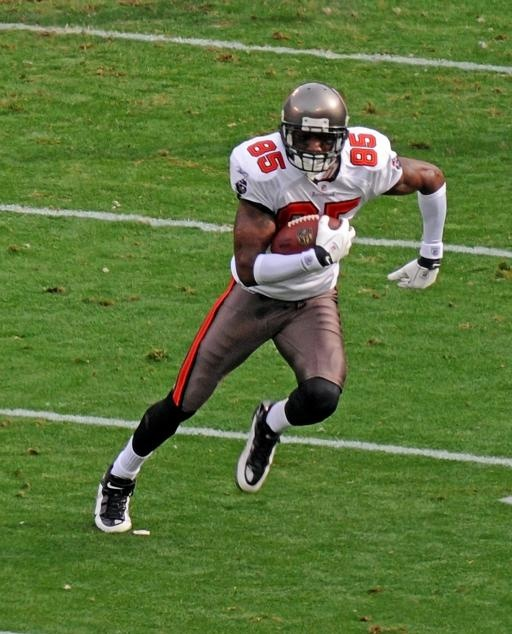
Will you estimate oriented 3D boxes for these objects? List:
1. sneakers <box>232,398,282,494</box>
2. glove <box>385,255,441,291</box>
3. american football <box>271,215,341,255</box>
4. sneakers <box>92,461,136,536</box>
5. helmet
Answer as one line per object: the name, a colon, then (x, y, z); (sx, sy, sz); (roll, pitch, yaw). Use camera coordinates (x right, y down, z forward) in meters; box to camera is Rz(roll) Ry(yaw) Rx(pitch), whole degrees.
sneakers: (-0.006, 0.663, 7.103); (0.170, 0.498, 0.219); (23, -18, -23)
glove: (0.816, -0.230, 7.362); (0.176, 0.094, 0.211); (-9, 3, -33)
american football: (0.227, -0.368, 6.590); (0.310, 0.103, 0.155); (-19, 8, 8)
sneakers: (-0.703, 0.864, 6.930); (0.135, 0.168, 0.375); (13, 36, -24)
helmet: (0.233, -0.862, 6.601); (0.328, 0.337, 0.395); (2, 41, -2)
